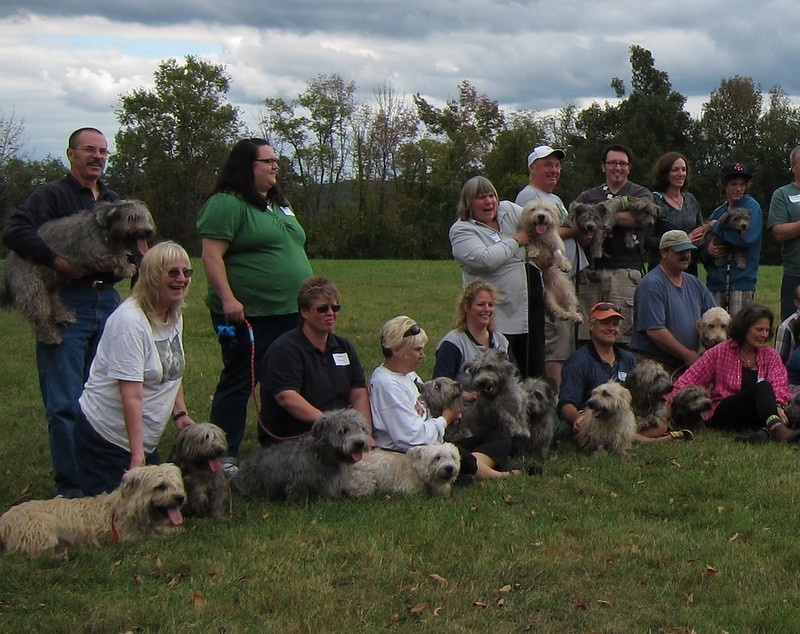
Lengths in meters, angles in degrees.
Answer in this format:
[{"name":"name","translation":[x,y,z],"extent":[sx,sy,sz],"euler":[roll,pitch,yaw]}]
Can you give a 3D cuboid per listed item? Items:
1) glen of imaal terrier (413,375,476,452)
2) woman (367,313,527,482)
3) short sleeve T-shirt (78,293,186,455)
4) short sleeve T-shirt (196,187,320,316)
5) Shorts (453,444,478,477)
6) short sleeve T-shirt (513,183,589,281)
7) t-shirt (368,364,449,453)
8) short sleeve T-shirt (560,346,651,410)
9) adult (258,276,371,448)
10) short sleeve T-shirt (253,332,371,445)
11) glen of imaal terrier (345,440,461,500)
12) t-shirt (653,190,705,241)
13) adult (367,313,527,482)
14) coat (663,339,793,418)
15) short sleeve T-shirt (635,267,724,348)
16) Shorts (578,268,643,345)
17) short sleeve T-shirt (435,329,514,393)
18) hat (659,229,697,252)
[{"name":"glen of imaal terrier","translation":[0.444,0.877,9.258],"extent":[0.437,0.932,0.352],"euler":[-8,29,7]},{"name":"woman","translation":[0.503,0.800,9.237],"extent":[1.510,1.599,1.066],"euler":[-3,7,10]},{"name":"short sleeve T-shirt","translation":[-2.397,0.504,8.091],"extent":[0.769,1.380,1.179],"euler":[17,10,8]},{"name":"short sleeve T-shirt","translation":[-1.654,-0.698,9.627],"extent":[1.029,1.608,1.673],"euler":[3,8,31]},{"name":"Shorts","translation":[0.668,1.426,8.937],"extent":[0.197,0.246,0.102],"euler":[0,-3,-24]},{"name":"short sleeve T-shirt","translation":[1.922,-1.169,11.394],"extent":[0.748,0.784,1.220],"euler":[-20,14,-13]},{"name":"t-shirt","translation":[0.076,0.895,9.369],"extent":[0.743,0.849,1.057],"euler":[-1,10,4]},{"name":"short sleeve T-shirt","translation":[2.217,0.658,10.328],"extent":[0.935,0.695,0.315],"euler":[-6,10,-28]},{"name":"adult","translation":[-0.782,0.467,9.116],"extent":[1.141,1.758,1.069],"euler":[-4,7,-42]},{"name":"short sleeve T-shirt","translation":[-0.853,0.679,9.220],"extent":[0.694,1.140,1.273],"euler":[-3,-2,43]},{"name":"glen of imaal terrier","translation":[0.058,1.410,8.622],"extent":[0.917,0.456,0.521],"euler":[1,-6,17]},{"name":"t-shirt","translation":[3.656,-1.342,12.153],"extent":[0.844,0.653,0.428],"euler":[-9,20,-10]},{"name":"adult","translation":[0.468,0.809,9.231],"extent":[1.446,1.589,1.051],"euler":[-1,9,12]},{"name":"coat","translation":[3.881,0.725,10.490],"extent":[1.364,0.918,0.806],"euler":[-5,-13,40]},{"name":"short sleeve T-shirt","translation":[3.379,-0.140,11.228],"extent":[1.146,0.964,0.624],"euler":[-5,9,-23]},{"name":"Shorts","translation":[2.568,-0.139,11.083],"extent":[0.830,1.169,0.482],"euler":[1,-10,16]},{"name":"short sleeve T-shirt","translation":[0.856,0.454,9.924],"extent":[0.991,0.765,0.456],"euler":[1,-1,-19]},{"name":"hat","translation":[3.296,-0.930,10.929],"extent":[0.257,0.184,0.337],"euler":[-5,5,-42]}]
